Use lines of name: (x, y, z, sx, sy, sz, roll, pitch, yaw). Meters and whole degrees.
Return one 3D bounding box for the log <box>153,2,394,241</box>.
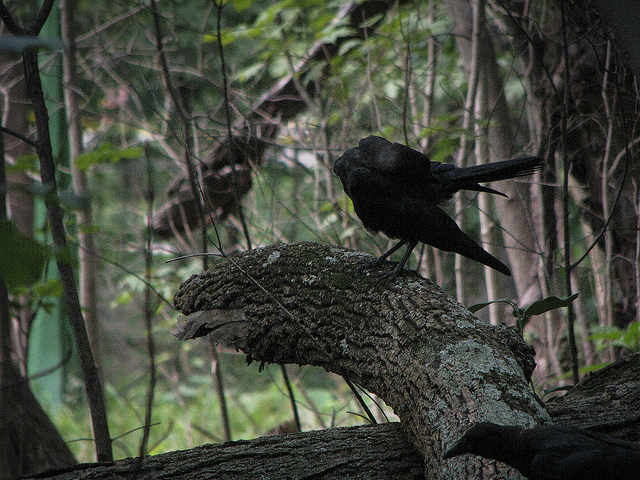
log: (-0.341, -0.964, 10.817, 3.272, 0.417, 0.634, -38, -12, 26)
